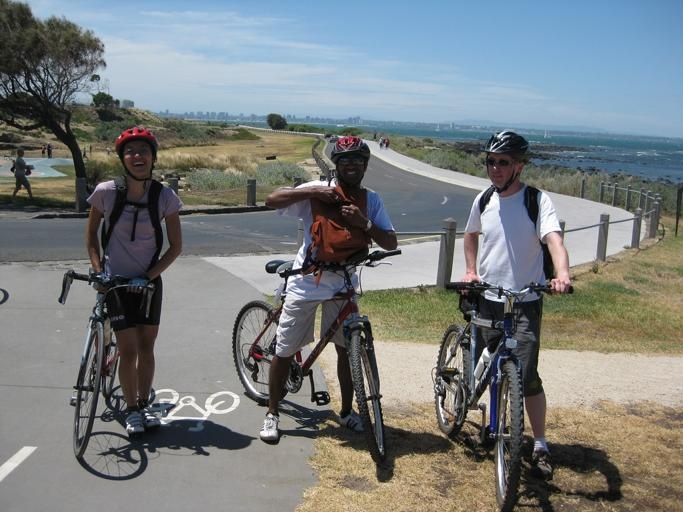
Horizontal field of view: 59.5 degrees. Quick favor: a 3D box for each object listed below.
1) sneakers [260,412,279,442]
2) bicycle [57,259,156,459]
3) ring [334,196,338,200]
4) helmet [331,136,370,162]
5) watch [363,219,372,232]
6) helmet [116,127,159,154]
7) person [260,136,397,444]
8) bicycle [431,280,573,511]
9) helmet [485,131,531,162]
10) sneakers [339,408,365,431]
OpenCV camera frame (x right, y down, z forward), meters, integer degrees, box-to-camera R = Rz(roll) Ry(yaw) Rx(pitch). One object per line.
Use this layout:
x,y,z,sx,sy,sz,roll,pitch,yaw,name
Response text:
-0.633,1.539,5.307,0.104,0.120,0.287,2,4,-8,sneakers
-2.230,0.894,5.479,0.635,1.434,2.171,12,-2,-17,bicycle
-0.038,-0.485,5.070,0.019,0.040,0.048,13,16,40,ring
0.087,-0.914,5.173,0.344,0.235,0.432,0,13,-11,helmet
0.225,-0.254,5.069,0.053,0.092,0.088,27,-8,8,watch
-1.776,-0.997,5.174,0.330,0.223,0.297,-3,14,-25,helmet
-0.142,0.295,5.298,1.123,2.667,0.580,0,12,-9,person
1.206,0.972,5.034,0.609,1.685,1.556,1,13,-5,bicycle
1.429,-0.882,5.012,0.326,0.179,0.237,5,5,-44,helmet
0.100,1.539,5.628,0.343,0.167,0.134,6,9,42,sneakers
